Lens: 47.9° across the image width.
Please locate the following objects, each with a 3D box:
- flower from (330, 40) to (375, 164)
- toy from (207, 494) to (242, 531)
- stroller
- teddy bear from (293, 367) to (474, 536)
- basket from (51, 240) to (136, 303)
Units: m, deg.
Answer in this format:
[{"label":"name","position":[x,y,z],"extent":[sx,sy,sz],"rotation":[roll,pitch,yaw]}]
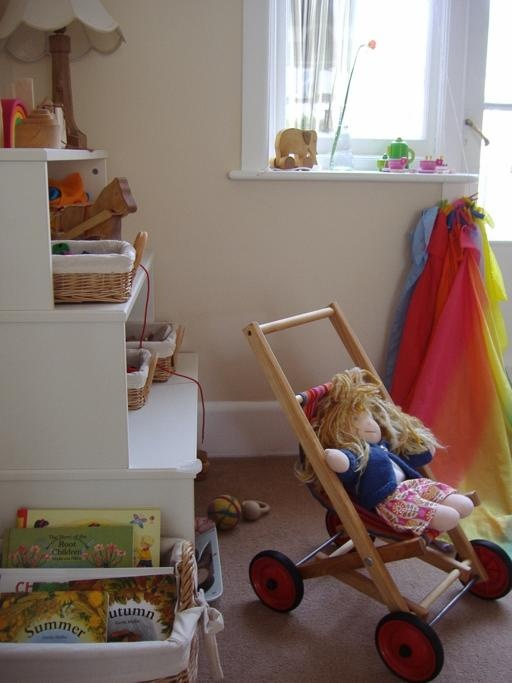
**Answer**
[{"label":"flower","position":[0.324,-0.818,1.990],"extent":[0.093,0.434,0.189],"rotation":[11,16,41]},{"label":"toy","position":[-0.081,0.470,1.581],"extent":[0.103,0.086,0.077],"rotation":[-2,12,-15]},{"label":"stroller","position":[0.330,0.190,1.511],"extent":[0.698,0.980,0.542],"rotation":[9,21,34]},{"label":"teddy bear","position":[0.292,0.242,1.246],"extent":[0.325,0.349,0.325],"rotation":[-11,-1,37]},{"label":"basket","position":[-0.309,-0.136,1.095],"extent":[0.148,0.103,0.219],"rotation":[-3,13,-19]}]
